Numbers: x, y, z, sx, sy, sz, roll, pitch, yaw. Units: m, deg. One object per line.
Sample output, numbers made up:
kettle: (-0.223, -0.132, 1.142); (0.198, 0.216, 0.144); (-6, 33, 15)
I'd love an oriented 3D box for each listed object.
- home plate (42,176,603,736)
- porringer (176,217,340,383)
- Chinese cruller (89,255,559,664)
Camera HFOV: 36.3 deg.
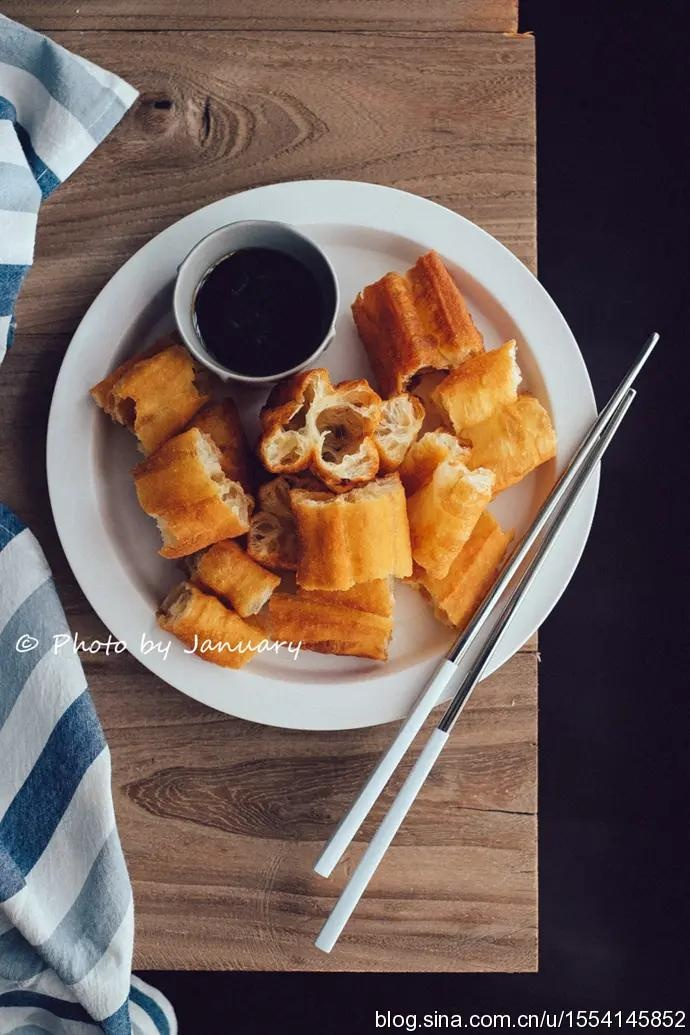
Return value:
home plate: (-0.052, -0.069, 1.147); (0.576, 0.307, 0.603); (12, 77, -32)
porringer: (-0.088, -0.215, 1.104); (0.181, 0.055, 0.162); (3, 96, -3)
Chinese cruller: (-0.008, -0.041, 1.139); (0.456, 0.312, 0.342); (-15, 54, -10)
